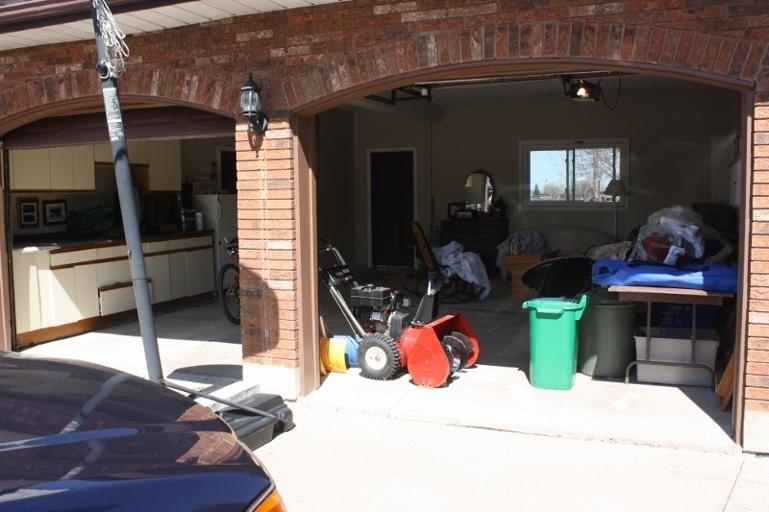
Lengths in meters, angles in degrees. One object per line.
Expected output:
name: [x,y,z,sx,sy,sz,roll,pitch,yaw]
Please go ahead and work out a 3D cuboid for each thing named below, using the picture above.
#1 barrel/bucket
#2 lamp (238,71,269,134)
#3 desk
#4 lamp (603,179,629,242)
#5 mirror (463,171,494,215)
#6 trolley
barrel/bucket: [2.297,0.852,6.834,0.785,1.110,0.771,6,-2,0]
lamp: [-1.283,-1.437,5.949,0.245,0.563,0.233,8,14,40]
desk: [2.820,0.511,6.243,1.298,1.172,0.995,2,7,23]
lamp: [4.659,-0.932,12.459,0.394,1.176,0.610,3,11,21]
mirror: [2.060,-1.391,13.428,0.679,0.852,0.270,1,11,13]
trolley: [0.054,0.645,6.717,1.741,1.239,0.935,8,8,20]
